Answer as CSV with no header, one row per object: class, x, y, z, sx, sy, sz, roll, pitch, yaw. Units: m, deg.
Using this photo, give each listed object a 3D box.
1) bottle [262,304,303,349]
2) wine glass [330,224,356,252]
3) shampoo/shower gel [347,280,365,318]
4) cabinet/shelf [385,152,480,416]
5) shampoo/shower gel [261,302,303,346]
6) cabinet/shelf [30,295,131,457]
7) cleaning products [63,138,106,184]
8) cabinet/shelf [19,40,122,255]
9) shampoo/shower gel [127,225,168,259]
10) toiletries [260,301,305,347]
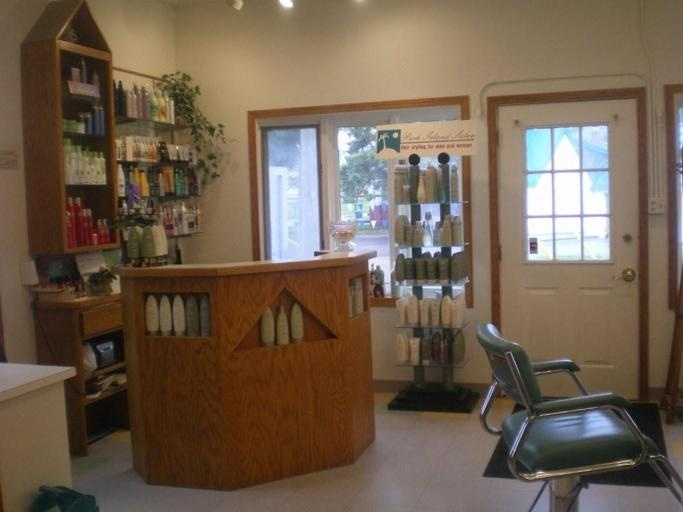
bottle,-0.417,0.470,3.585,0.279,0.259,0.069,-4,6,-21
wine glass,0.021,-0.143,4.453,0.219,0.241,0.208,-3,2,-43
shampoo/shower gel,0.092,0.296,3.978,0.063,0.266,0.334,0,6,18
cabinet/shelf,0.780,0.263,4.783,0.760,2.037,0.601,-2,3,20
shampoo/shower gel,-0.403,0.450,3.607,0.314,0.266,0.085,-6,7,-31
cabinet/shelf,-2.051,0.931,4.325,0.393,1.158,0.719,-5,-1,9
cleaning products,-2.079,-0.737,4.287,0.138,0.350,0.406,1,2,19
cabinet/shelf,-2.238,-1.001,4.411,0.410,1.910,0.709,-2,0,13
shampoo/shower gel,-1.336,-0.099,3.652,0.213,0.216,0.221,1,2,3
toiletries,-0.423,0.455,3.585,0.284,0.259,0.070,-4,7,-23
